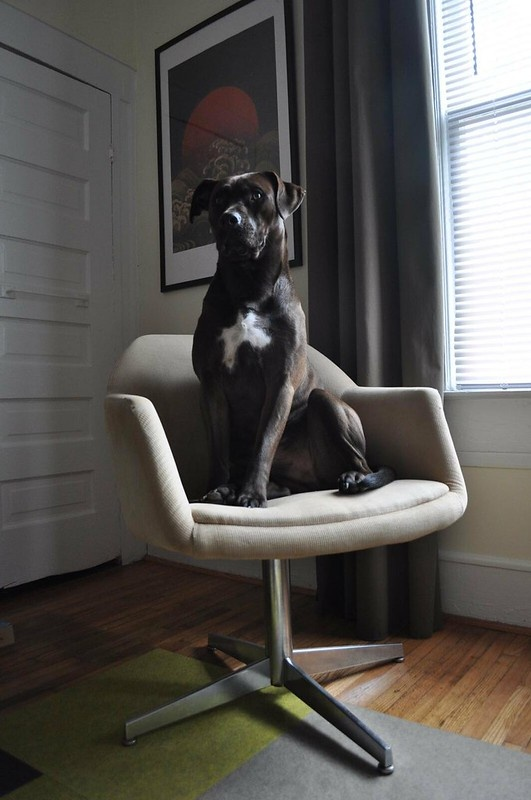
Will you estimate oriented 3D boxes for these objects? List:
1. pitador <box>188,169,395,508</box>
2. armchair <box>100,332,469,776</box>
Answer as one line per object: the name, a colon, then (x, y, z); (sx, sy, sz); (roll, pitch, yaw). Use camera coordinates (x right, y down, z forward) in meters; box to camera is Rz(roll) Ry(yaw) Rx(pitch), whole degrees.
pitador: (0.035, -0.129, 1.402); (0.371, 0.714, 0.418); (-4, -3, 39)
armchair: (0.030, 0.229, 1.381); (0.763, 0.904, 0.783); (1, -1, -33)
